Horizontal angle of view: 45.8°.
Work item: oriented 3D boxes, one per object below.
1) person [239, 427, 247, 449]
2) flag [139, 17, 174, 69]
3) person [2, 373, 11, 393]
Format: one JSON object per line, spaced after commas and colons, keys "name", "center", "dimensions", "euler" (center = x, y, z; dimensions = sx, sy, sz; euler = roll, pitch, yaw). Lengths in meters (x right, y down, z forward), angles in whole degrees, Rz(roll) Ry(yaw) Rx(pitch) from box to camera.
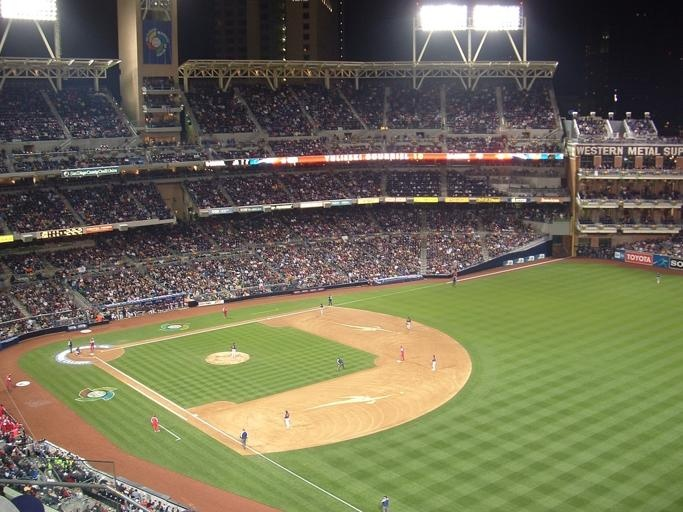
{"name": "person", "center": [-7.267, 13.237, 59.490], "dimensions": [0.565, 1.330, 1.707], "euler": [-5, 9, -7]}
{"name": "flag", "center": [-23.044, -26.574, 100.588], "dimensions": [3.661, 5.236, 1.200], "euler": [-5, 10, -12]}
{"name": "person", "center": [-28.462, 10.794, 68.401], "dimensions": [1.473, 1.631, 0.519], "euler": [-4, -5, 42]}
